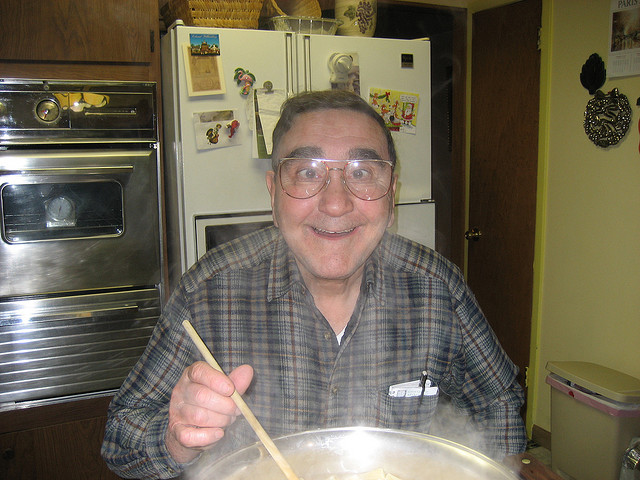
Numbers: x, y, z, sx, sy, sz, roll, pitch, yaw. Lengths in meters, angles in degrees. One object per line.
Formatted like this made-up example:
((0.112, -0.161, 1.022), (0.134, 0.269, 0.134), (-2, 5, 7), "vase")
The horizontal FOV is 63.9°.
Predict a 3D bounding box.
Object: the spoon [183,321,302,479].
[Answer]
((-0.166, 0.348, 1.103), (0.054, 0.028, 0.550), (-34, 57, -1), "spoon")

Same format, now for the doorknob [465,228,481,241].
((1.048, -0.043, 3.498), (0.038, 0.068, 0.078), (-1, 0, -28), "doorknob")

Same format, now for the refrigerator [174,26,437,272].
((-0.078, -0.334, 2.727), (1.327, 1.413, 0.523), (-4, -2, -11), "refrigerator")

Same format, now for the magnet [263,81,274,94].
((-0.245, -0.728, 2.435), (0.047, 0.050, 0.047), (-5, 40, -4), "magnet")

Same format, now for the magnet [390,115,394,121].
((0.381, -0.641, 2.700), (0.023, 0.025, 0.005), (-9, 11, -31), "magnet")

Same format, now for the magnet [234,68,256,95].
((-0.348, -0.724, 2.355), (0.098, 0.106, 0.046), (14, 10, -20), "magnet")

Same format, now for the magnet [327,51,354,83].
((0.107, -0.852, 2.578), (0.120, 0.150, 0.106), (7, 23, -5), "magnet")

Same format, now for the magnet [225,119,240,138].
((-0.410, -0.521, 2.412), (0.055, 0.075, 0.025), (27, -7, -9), "magnet")
